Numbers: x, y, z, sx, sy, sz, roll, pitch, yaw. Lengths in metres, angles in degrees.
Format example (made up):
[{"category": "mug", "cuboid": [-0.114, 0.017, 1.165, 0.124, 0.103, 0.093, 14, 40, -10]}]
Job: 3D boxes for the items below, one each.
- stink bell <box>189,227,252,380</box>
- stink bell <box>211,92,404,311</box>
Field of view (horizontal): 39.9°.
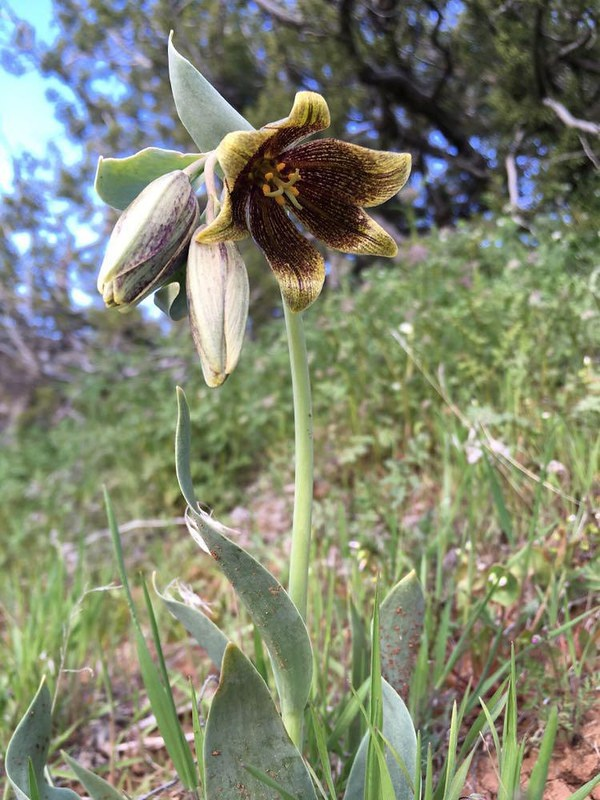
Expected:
[{"category": "stink bell", "cuboid": [-0.125, -0.144, 1.292, 0.093, 0.256, 0.087, -5, -9, 31]}, {"category": "stink bell", "cuboid": [-0.021, -0.342, 1.411, 0.333, 0.136, 0.352, -43, -48, 6]}]
